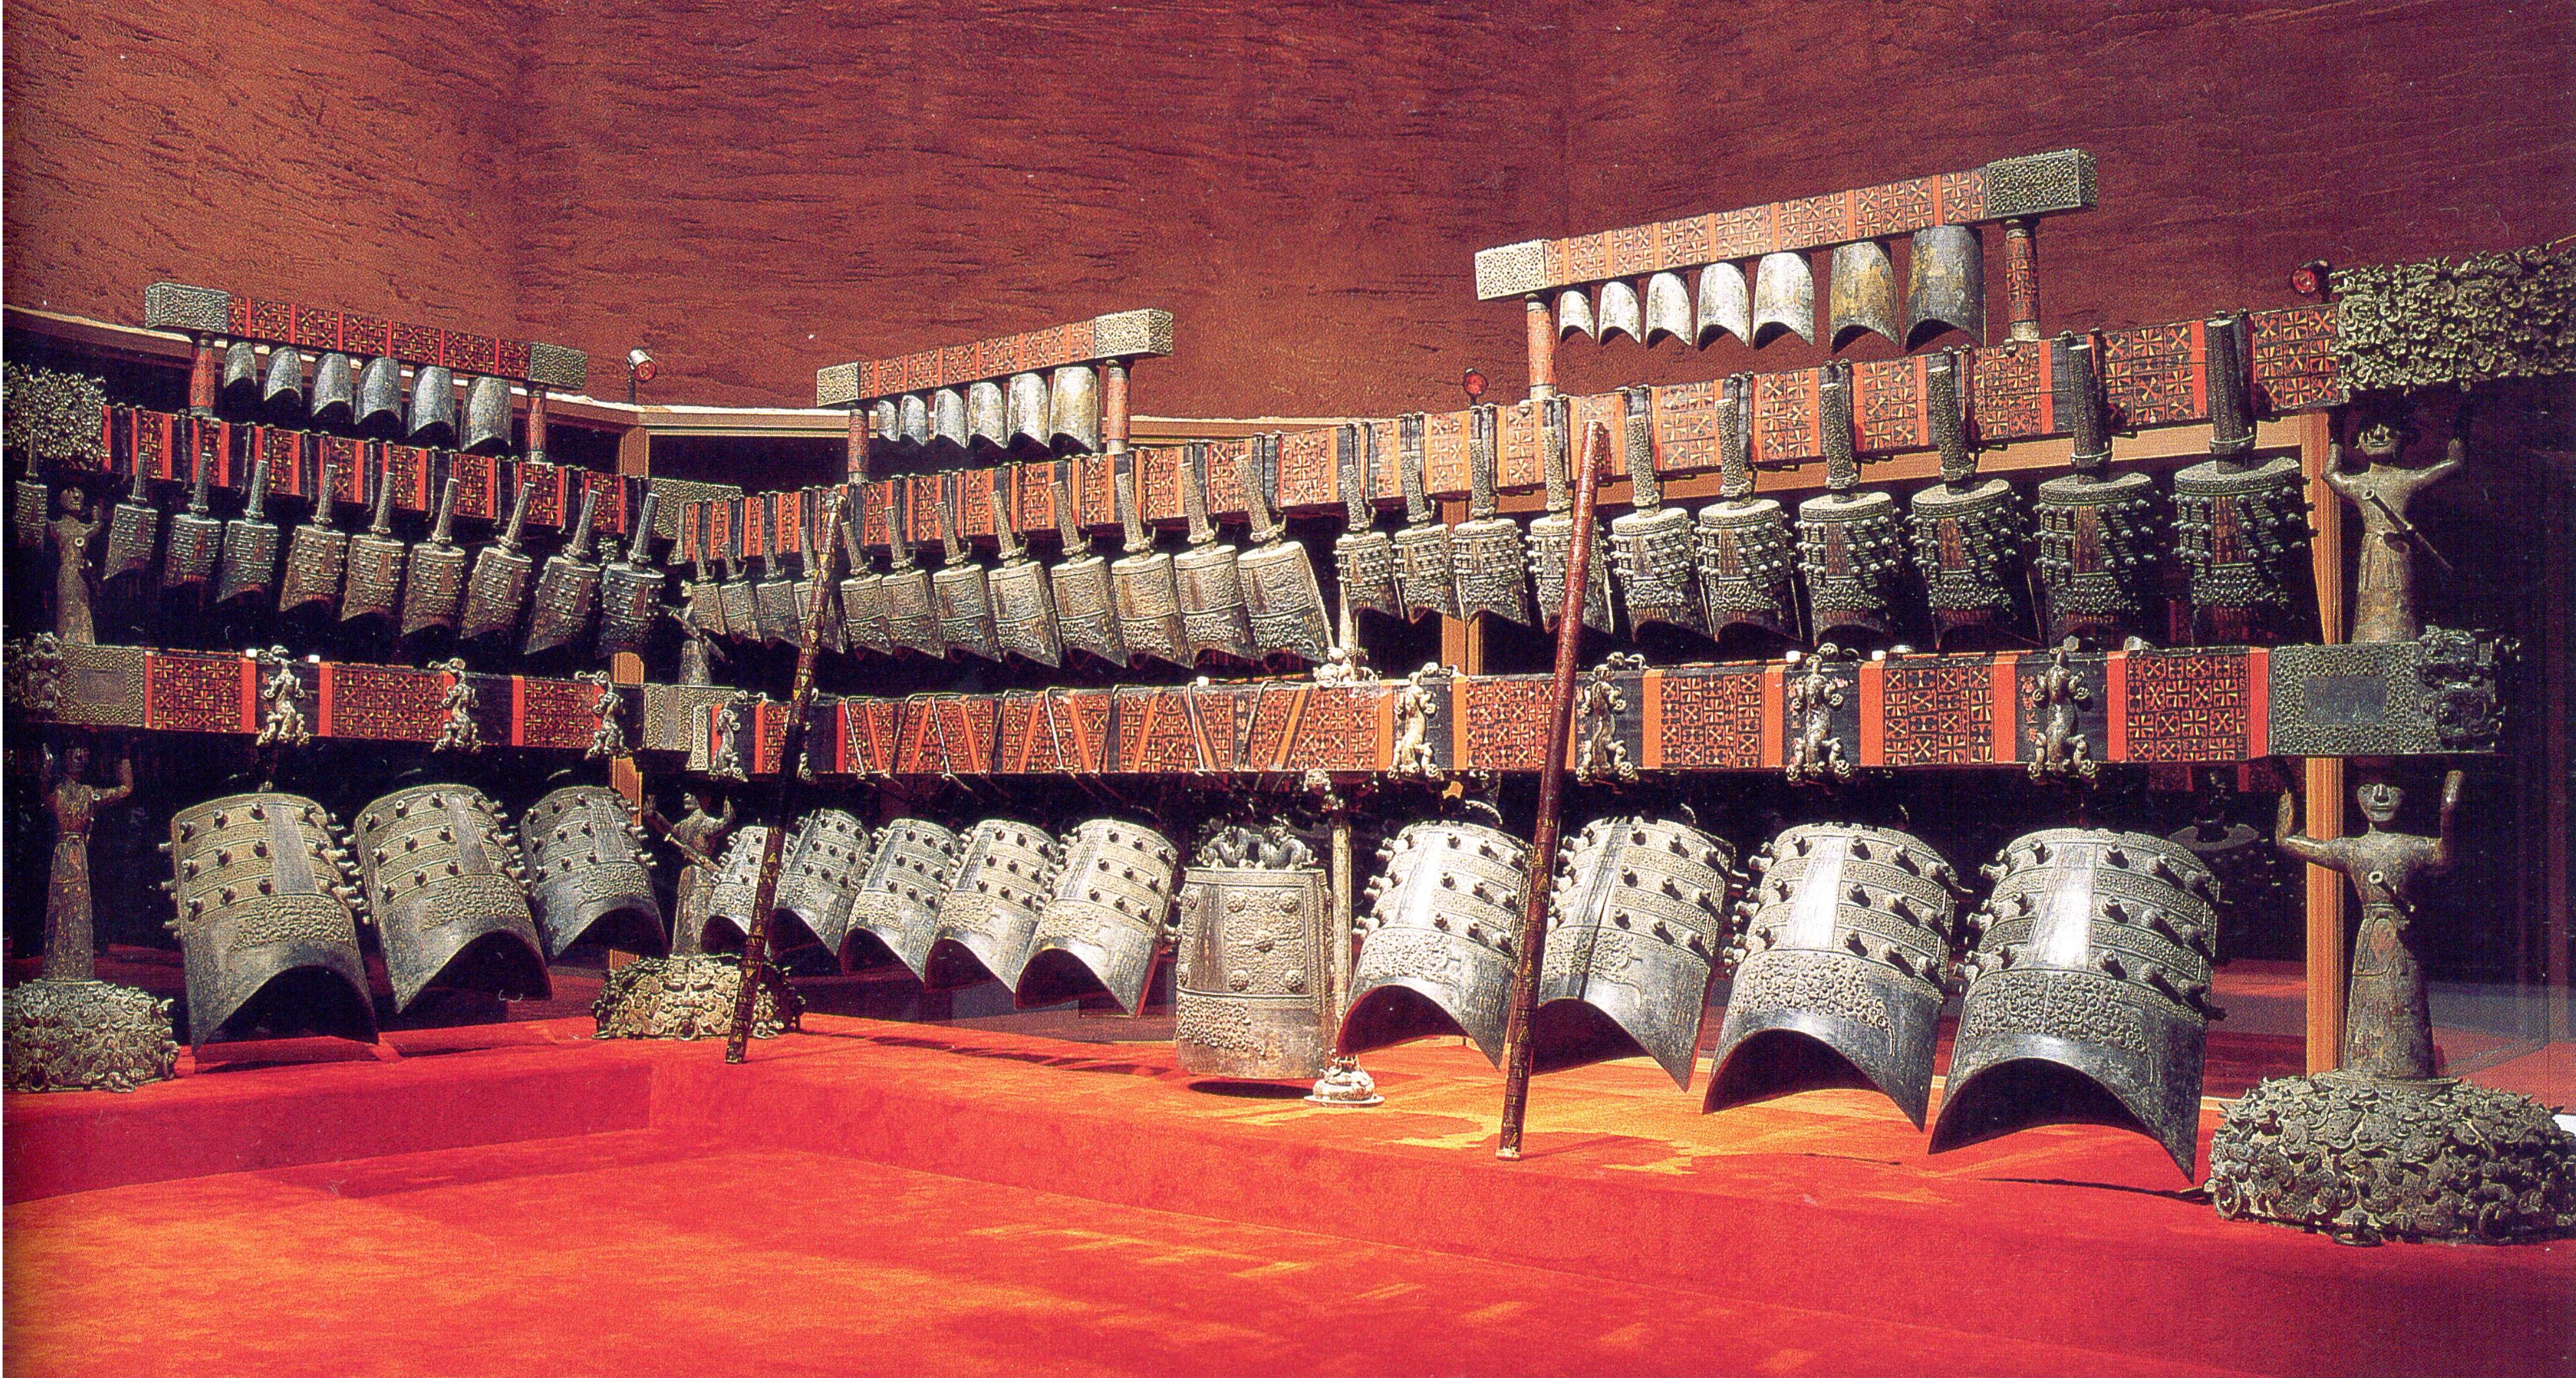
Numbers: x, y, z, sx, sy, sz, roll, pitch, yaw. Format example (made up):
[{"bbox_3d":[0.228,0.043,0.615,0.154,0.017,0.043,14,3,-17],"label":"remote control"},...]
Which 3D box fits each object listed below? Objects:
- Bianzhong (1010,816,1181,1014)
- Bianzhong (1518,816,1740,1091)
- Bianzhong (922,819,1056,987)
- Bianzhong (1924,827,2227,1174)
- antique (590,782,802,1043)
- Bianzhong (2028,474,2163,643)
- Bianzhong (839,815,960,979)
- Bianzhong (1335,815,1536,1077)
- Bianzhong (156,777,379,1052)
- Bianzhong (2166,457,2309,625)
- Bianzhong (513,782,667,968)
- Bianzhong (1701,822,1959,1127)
[{"bbox_3d":[-0.916,1.040,12.061,0.635,0.830,0.548,12,-40,9],"label":"Bianzhong"},{"bbox_3d":[1.472,1.178,11.191,0.747,1.115,0.875,32,-27,-36],"label":"Bianzhong"},{"bbox_3d":[-1.429,1.051,12.257,0.481,0.624,0.403,28,-35,-14],"label":"Bianzhong"},{"bbox_3d":[3.288,1.399,10.526,1.164,1.446,1.027,5,-32,26],"label":"Bianzhong"},{"bbox_3d":[-3.077,1.131,13.064,1.004,1.239,0.841,0,2,-5],"label":"antique"},{"bbox_3d":[3.513,-0.585,11.008,0.567,0.723,0.648,-1,3,26],"label":"Bianzhong"},{"bbox_3d":[-1.914,1.025,12.573,0.525,0.696,0.461,11,-33,13],"label":"Bianzhong"},{"bbox_3d":[0.698,1.166,11.438,0.797,1.052,0.749,20,-24,-30],"label":"Bianzhong"},{"bbox_3d":[-4.836,1.190,12.165,0.910,1.208,0.823,-3,-36,-33],"label":"Bianzhong"},{"bbox_3d":[4.024,-0.637,10.835,0.604,0.742,0.628,-3,4,28],"label":"Bianzhong"},{"bbox_3d":[-3.578,0.877,13.114,0.605,0.843,0.654,-19,-24,21],"label":"Bianzhong"},{"bbox_3d":[2.311,1.252,10.790,0.962,1.202,0.829,2,-29,29],"label":"Bianzhong"}]
